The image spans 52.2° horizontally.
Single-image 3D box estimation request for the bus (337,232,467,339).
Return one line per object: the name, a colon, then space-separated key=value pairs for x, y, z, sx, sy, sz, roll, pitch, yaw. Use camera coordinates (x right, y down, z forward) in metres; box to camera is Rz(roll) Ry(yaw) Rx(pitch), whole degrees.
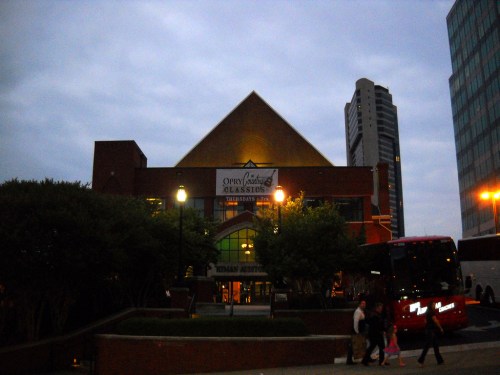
bus: x=10.199 y=7.252 z=30.818 sx=4.058 sy=5.420 sz=12.939 roll=-6 pitch=-25 yaw=12
